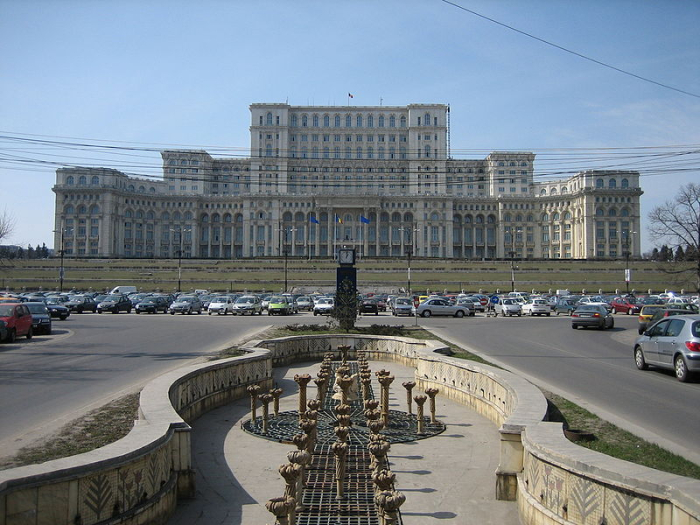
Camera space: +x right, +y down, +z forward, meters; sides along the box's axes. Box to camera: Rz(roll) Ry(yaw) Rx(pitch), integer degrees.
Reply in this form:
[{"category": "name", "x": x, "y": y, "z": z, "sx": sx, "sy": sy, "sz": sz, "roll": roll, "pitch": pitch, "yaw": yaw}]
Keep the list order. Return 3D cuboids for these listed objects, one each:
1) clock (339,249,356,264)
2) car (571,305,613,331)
[{"category": "clock", "x": -0.114, "y": -0.201, "z": 35.332, "sx": 0.281, "sy": 0.537, "sz": 0.569, "roll": -4, "pitch": -4, "yaw": 41}, {"category": "car", "x": 12.163, "y": 2.689, "z": 44.870, "sx": 1.041, "sy": 0.756, "sz": 2.395, "roll": -2, "pitch": 0, "yaw": 29}]
